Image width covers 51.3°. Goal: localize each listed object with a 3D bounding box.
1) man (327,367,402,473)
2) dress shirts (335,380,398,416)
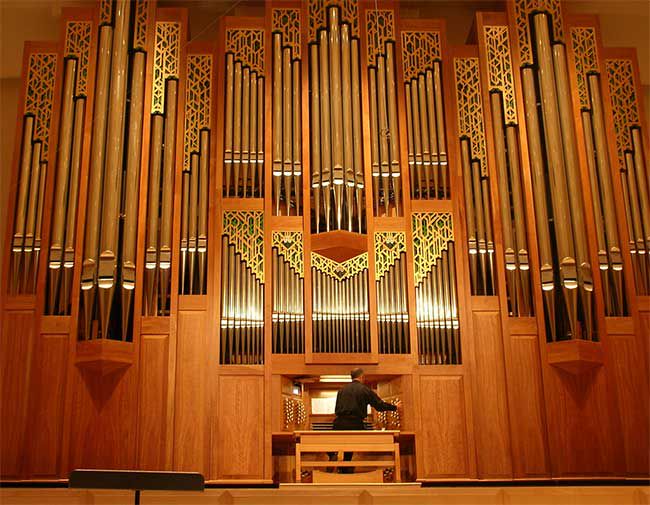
[{"bbox_3d":[0.374,2.063,7.931,0.843,1.414,0.455,-5,-28,26],"label":"man"},{"bbox_3d":[0.353,1.755,8.033,0.913,0.481,0.319,-6,-7,18],"label":"dress shirts"}]
